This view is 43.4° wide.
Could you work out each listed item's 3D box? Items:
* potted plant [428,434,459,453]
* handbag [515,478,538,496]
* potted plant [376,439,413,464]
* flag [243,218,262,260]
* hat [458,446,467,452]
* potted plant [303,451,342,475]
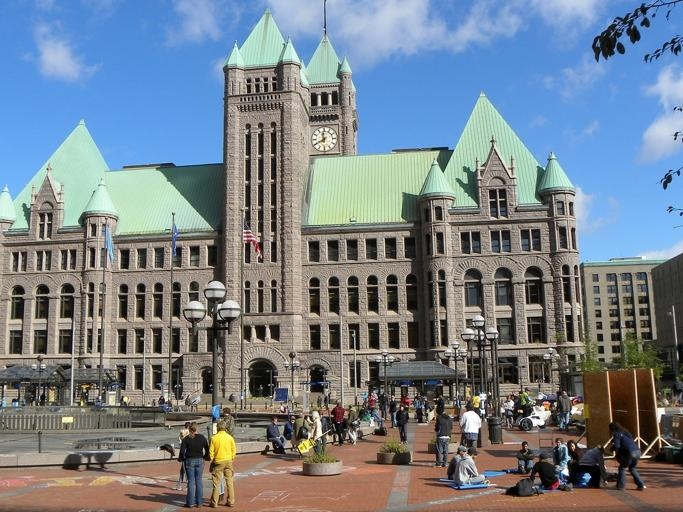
[{"bbox_3d":[4.800,9.339,42.241,2.036,0.783,1.913,1,-4,-8],"label":"potted plant"},{"bbox_3d":[7.177,8.967,33.233,0.880,0.661,0.282,0,-13,-16],"label":"handbag"},{"bbox_3d":[2.478,9.047,39.546,1.204,0.679,1.138,0,-9,1],"label":"potted plant"},{"bbox_3d":[-8.867,-1.465,85.751,0.372,3.901,3.635,-12,-17,21],"label":"flag"},{"bbox_3d":[4.929,7.872,34.911,0.360,0.165,0.451,2,-10,14],"label":"hat"},{"bbox_3d":[-1.011,8.951,36.846,1.105,0.670,1.058,11,-24,-28],"label":"potted plant"}]
